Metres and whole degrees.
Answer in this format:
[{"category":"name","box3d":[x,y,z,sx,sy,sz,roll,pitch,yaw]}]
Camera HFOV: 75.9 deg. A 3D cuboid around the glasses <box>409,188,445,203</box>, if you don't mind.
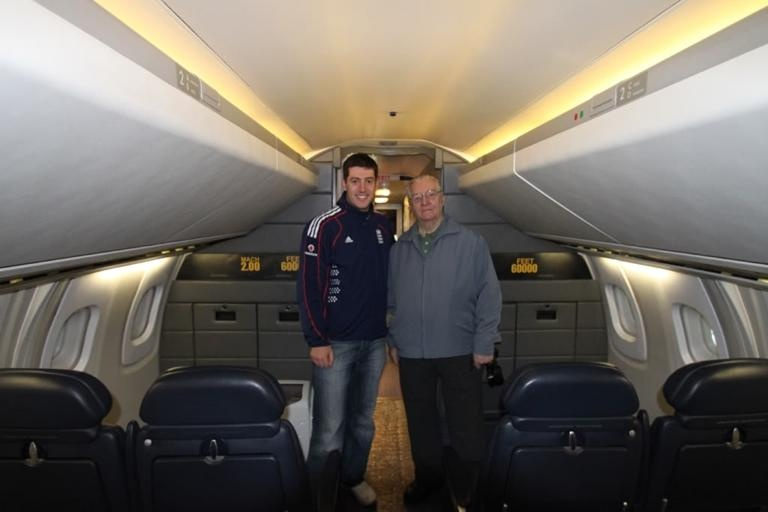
[{"category":"glasses","box3d":[0.314,-0.444,3.734,0.244,0.095,0.137,-3,-9,8]}]
